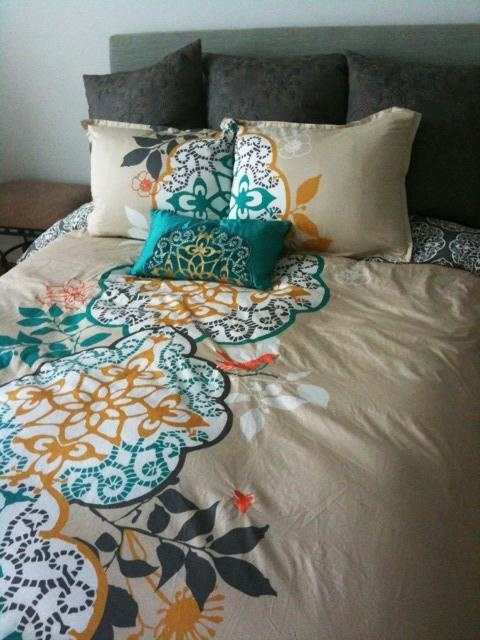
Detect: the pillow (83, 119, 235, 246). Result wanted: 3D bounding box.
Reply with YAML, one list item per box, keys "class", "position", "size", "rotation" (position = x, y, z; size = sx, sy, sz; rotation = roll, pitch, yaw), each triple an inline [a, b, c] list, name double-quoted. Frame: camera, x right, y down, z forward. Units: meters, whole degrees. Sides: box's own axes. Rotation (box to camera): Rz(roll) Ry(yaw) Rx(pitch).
- class: "pillow"
  position: [-0.255, -0.461, 1.791]
  size: [0.569, 0.375, 0.183]
  rotation: [3, 29, -4]

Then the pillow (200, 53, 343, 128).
- class: "pillow"
  position: [0.129, -0.817, 1.864]
  size: [0.444, 0.287, 0.147]
  rotation: [3, -12, 11]

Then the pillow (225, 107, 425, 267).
- class: "pillow"
  position: [0.243, -0.415, 1.654]
  size: [0.620, 0.437, 0.207]
  rotation: [4, 2, 28]
